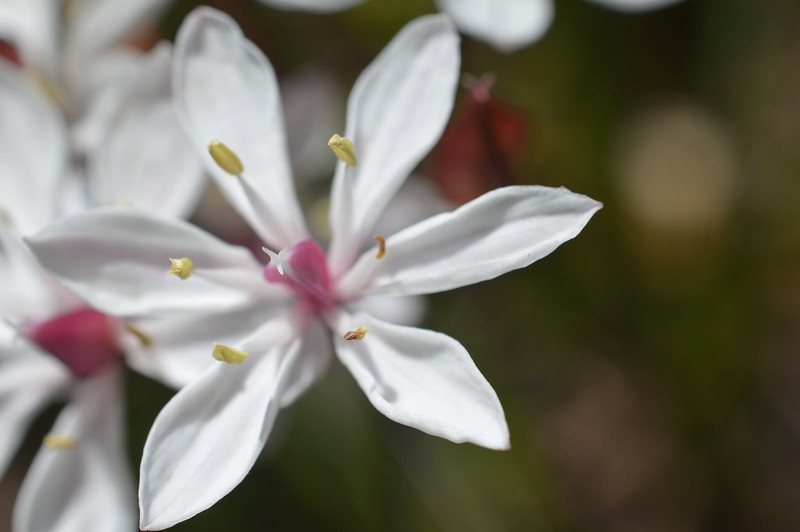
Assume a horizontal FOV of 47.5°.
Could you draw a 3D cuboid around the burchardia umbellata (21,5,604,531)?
[{"bbox_3d":[-0.090,-0.026,1.005,0.604,0.500,0.285,-5,18,2],"label":"burchardia umbellata"}]
